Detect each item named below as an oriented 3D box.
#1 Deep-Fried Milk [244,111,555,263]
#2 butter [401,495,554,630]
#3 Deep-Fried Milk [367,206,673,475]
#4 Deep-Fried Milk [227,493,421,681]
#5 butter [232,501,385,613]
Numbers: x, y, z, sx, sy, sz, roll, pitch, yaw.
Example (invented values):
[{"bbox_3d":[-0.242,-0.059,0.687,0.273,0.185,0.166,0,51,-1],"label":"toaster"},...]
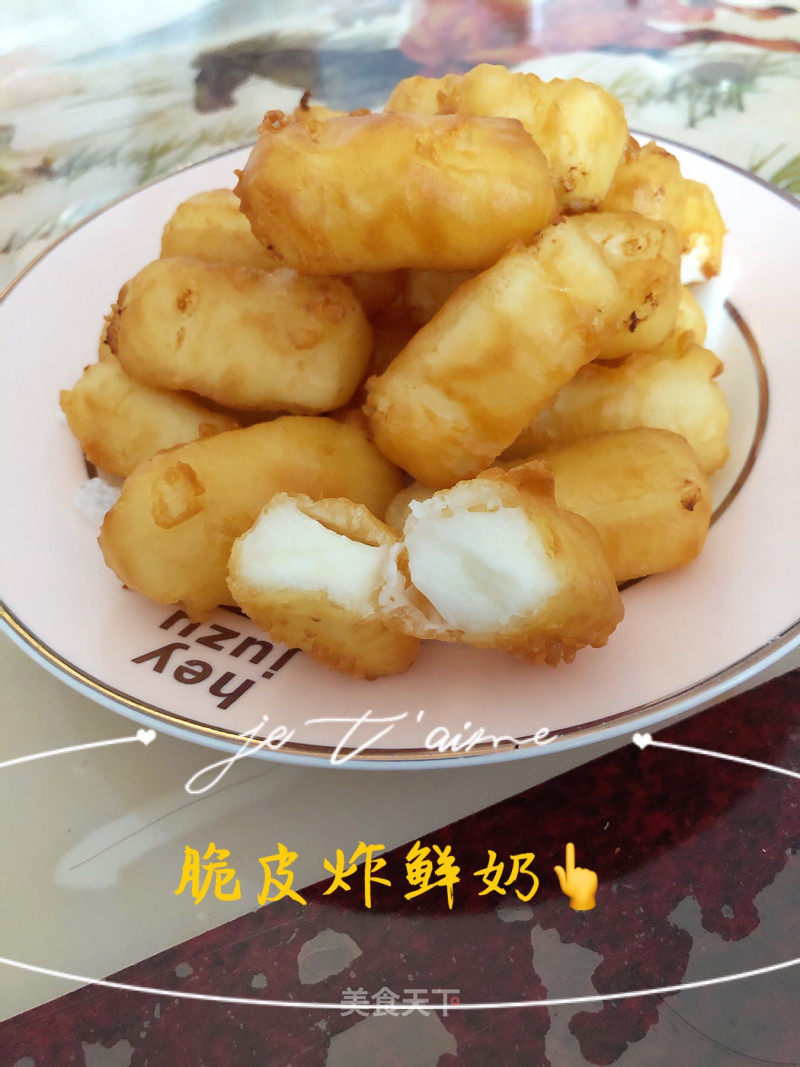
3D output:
[{"bbox_3d":[0.003,-0.203,0.678,0.211,0.085,0.087,5,78,15],"label":"Deep-Fried Milk"},{"bbox_3d":[0.041,0.016,0.600,0.080,0.070,0.020,-8,12,30],"label":"butter"},{"bbox_3d":[0.069,-0.112,0.704,0.231,0.108,0.079,-35,21,12],"label":"Deep-Fried Milk"},{"bbox_3d":[-0.046,0.014,0.644,0.110,0.026,0.115,10,26,-22],"label":"Deep-Fried Milk"},{"bbox_3d":[-0.048,0.010,0.627,0.080,0.045,0.056,7,44,11],"label":"butter"}]
